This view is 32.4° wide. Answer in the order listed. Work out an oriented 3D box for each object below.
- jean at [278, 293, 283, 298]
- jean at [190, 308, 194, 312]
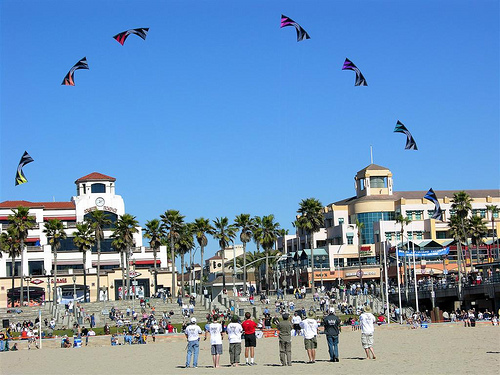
[{"bbox_3d":[3.760,13.504,107.483,0.440,0.634,0.948,0,-12,-15],"label":"jean"},{"bbox_3d":[-6.614,13.930,97.469,0.470,0.680,0.239,2,1,-6],"label":"jean"}]
